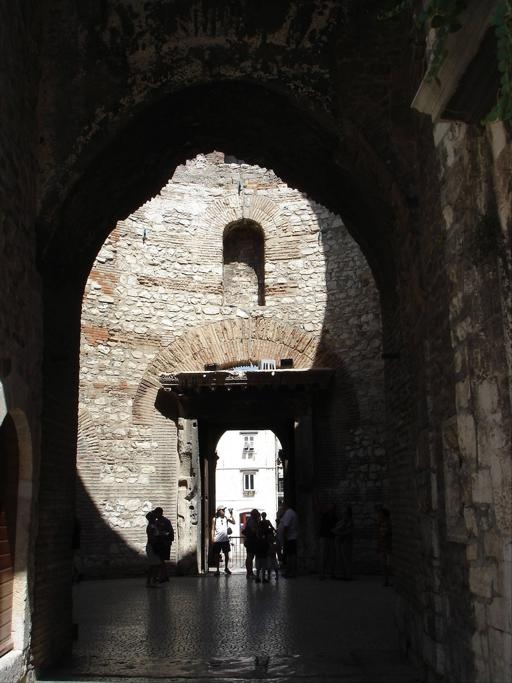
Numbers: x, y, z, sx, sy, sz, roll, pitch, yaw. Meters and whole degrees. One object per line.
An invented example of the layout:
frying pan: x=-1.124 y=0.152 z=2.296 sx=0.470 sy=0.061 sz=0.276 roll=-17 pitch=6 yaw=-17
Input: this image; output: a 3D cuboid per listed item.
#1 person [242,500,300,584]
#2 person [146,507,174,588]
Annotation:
person: x=0.201 y=2.856 z=11.233 sx=0.721 sy=0.997 sz=1.106 roll=0 pitch=-14 yaw=0
person: x=-1.276 y=2.665 z=10.411 sx=0.335 sy=0.963 sz=0.892 roll=2 pitch=-14 yaw=-7
